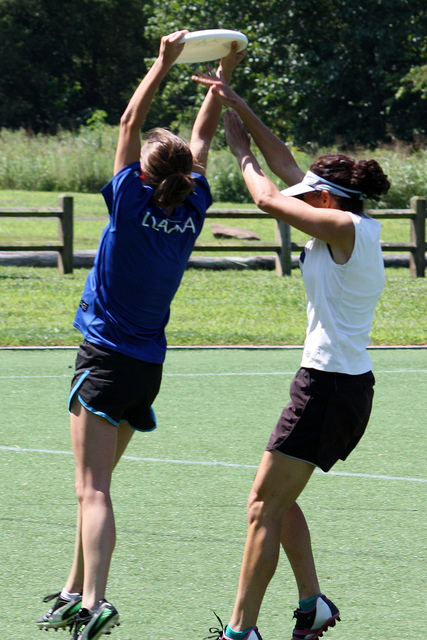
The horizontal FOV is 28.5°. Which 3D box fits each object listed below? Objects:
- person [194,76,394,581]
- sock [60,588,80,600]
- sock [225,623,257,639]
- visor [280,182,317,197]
[{"bbox_3d":[0.301,0.144,3.058,0.605,1.923,0.913,4,9,-3],"label":"person"},{"bbox_3d":[-0.484,0.948,2.893,0.062,0.023,0.021,11,4,-7],"label":"sock"},{"bbox_3d":[0.083,0.995,2.698,0.069,0.044,0.044,-3,8,-12],"label":"sock"},{"bbox_3d":[0.271,-0.458,2.940,0.118,0.047,0.175,1,9,-15],"label":"visor"}]
